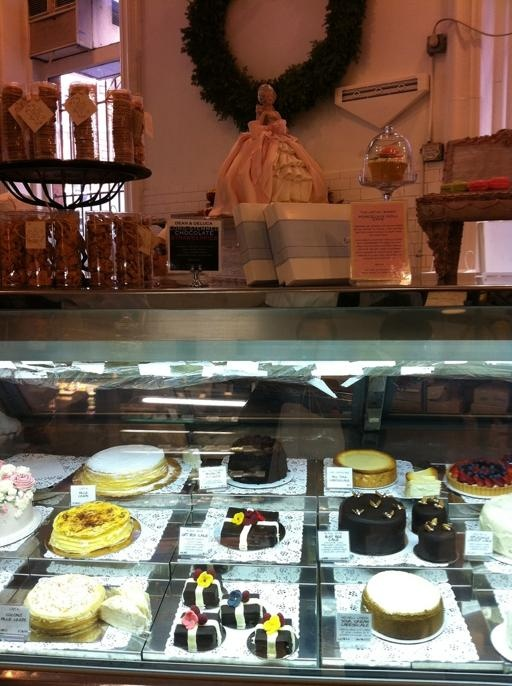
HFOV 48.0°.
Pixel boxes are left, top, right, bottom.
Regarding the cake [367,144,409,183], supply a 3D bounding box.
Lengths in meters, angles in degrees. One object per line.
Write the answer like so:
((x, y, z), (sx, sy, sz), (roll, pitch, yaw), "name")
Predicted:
((0.333, -0.447, 1.430), (0.076, 0.065, 0.073), (-15, 31, -35), "cake")

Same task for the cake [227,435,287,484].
((0.003, 0.293, 1.462), (0.119, 0.054, 0.116), (6, 6, 24), "cake")

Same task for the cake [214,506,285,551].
((-0.009, 0.405, 1.289), (0.094, 0.037, 0.088), (1, 8, 4), "cake")

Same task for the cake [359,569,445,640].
((0.286, 0.505, 1.111), (0.152, 0.083, 0.131), (0, -1, 18), "cake")

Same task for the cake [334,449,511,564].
((0.324, 0.362, 1.349), (0.251, 0.056, 0.249), (0, 24, -4), "cake")

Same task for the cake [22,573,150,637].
((-0.323, 0.512, 1.128), (0.173, 0.037, 0.107), (6, 11, -12), "cake")
